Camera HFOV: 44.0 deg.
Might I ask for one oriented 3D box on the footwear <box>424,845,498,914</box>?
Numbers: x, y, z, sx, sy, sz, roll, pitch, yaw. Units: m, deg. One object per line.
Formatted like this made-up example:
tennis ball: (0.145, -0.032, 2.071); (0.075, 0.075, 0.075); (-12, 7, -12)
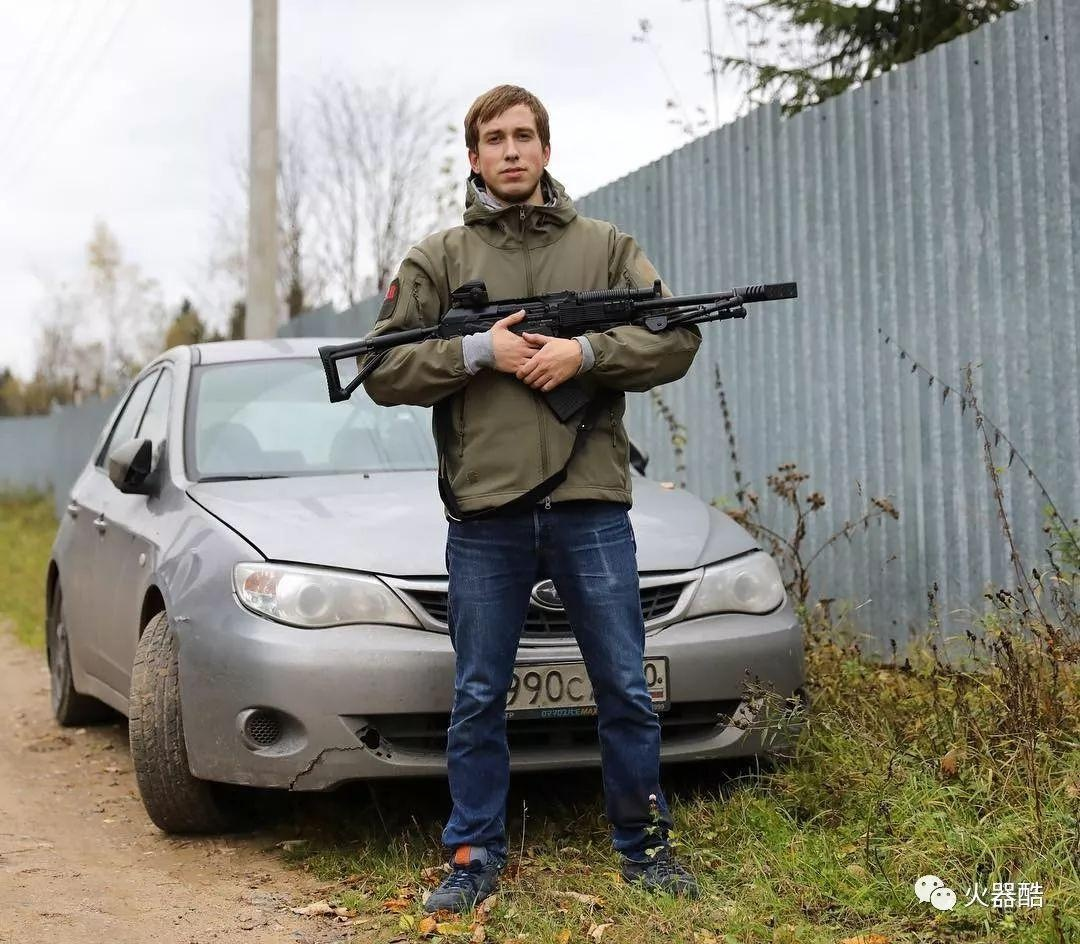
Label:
footwear: (-0.214, 1.189, 3.865); (0.113, 0.199, 0.362); (-12, -9, 24)

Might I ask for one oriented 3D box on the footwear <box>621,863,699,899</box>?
footwear: (0.345, 1.156, 3.833); (0.210, 0.107, 0.081); (-3, -7, 38)

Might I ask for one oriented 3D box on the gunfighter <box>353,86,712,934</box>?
gunfighter: (-0.030, 0.046, 3.895); (0.757, 2.424, 0.550); (-1, -7, 1)

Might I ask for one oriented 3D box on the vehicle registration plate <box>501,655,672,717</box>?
vehicle registration plate: (0.097, 0.656, 4.220); (0.410, 0.192, 0.414); (3, 2, -15)

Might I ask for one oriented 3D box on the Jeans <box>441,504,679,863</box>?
Jeans: (0.014, 0.621, 3.898); (0.641, 1.049, 0.255); (-5, 11, 1)
